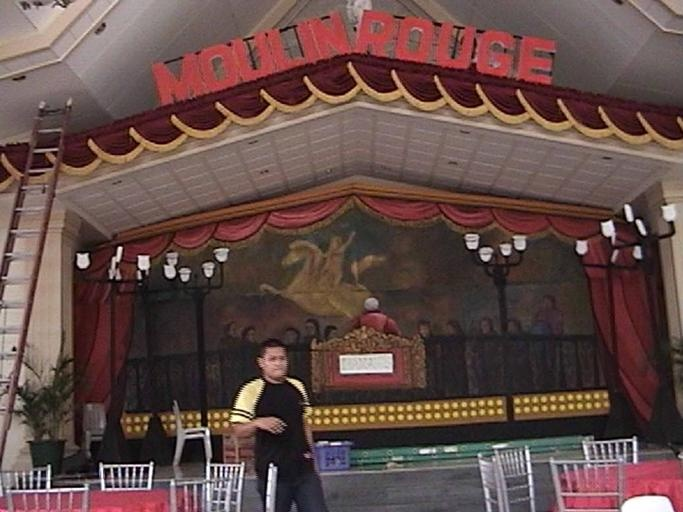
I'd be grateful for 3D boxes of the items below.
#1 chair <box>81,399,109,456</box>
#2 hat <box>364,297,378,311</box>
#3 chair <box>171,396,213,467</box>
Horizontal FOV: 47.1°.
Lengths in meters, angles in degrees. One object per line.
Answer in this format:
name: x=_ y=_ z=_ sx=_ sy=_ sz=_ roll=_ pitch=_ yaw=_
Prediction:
chair: x=-3.894 y=2.760 z=12.440 sx=0.445 sy=0.783 sz=0.394 roll=0 pitch=6 yaw=-39
hat: x=0.510 y=0.825 z=13.212 sx=0.222 sy=0.200 sz=0.300 roll=1 pitch=-51 yaw=0
chair: x=-2.403 y=2.819 z=12.651 sx=0.646 sy=0.944 sz=0.506 roll=2 pitch=0 yaw=-14
